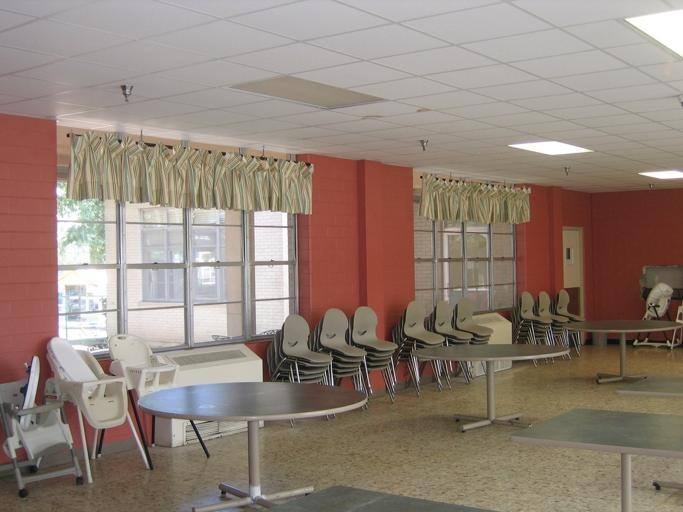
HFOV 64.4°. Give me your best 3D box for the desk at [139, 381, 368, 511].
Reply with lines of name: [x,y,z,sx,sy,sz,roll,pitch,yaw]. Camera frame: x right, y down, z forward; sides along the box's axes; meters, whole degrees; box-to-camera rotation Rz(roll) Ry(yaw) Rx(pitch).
desk: [-0.705,1.531,4.320,1.600,0.545,1.296,0,-3,5]

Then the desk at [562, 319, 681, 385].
desk: [4.717,1.531,9.228,1.919,0.643,1.537,-1,-3,-5]

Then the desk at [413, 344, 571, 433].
desk: [1.814,1.578,6.814,1.642,0.550,1.317,-1,-3,-6]

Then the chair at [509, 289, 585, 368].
chair: [3.919,1.408,10.458,1.964,0.904,0.634,4,-7,-44]
